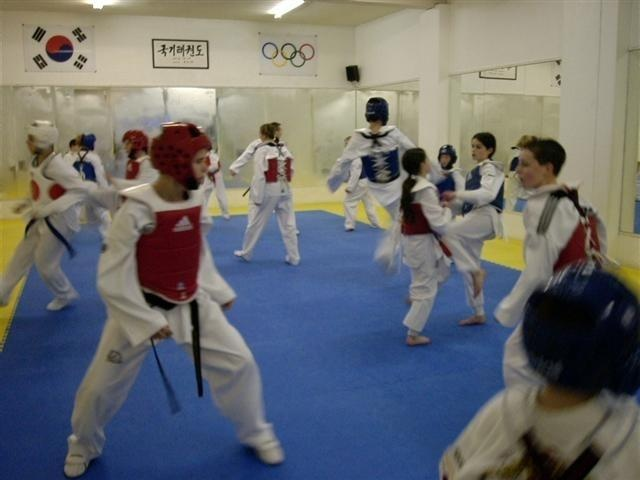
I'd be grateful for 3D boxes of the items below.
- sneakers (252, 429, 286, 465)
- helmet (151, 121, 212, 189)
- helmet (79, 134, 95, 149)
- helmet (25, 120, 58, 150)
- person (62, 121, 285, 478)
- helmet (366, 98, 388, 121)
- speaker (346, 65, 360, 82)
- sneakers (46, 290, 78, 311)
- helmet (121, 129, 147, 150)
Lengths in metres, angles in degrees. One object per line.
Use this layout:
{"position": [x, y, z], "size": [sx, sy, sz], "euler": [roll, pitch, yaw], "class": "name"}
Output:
{"position": [-0.263, 1.014, 2.436], "size": [0.106, 0.203, 0.081], "euler": [-27, -18, -29], "class": "sneakers"}
{"position": [-0.596, -0.396, 2.279], "size": [0.262, 0.313, 0.217], "euler": [2, 9, -2], "class": "helmet"}
{"position": [-3.378, -1.412, 7.204], "size": [0.145, 0.290, 0.378], "euler": [-2, 9, -29], "class": "helmet"}
{"position": [-2.415, -0.868, 4.267], "size": [0.228, 0.200, 0.266], "euler": [8, -43, -37], "class": "helmet"}
{"position": [-0.716, 0.287, 2.319], "size": [1.016, 1.625, 0.451], "euler": [-5, 11, -20], "class": "person"}
{"position": [0.521, -1.224, 4.638], "size": [0.223, 0.246, 0.170], "euler": [-11, 17, -38], "class": "helmet"}
{"position": [0.789, -4.027, 11.997], "size": [0.356, 0.496, 0.256], "euler": [-3, -3, 5], "class": "speaker"}
{"position": [-2.546, 0.604, 4.820], "size": [0.381, 0.138, 0.193], "euler": [-25, -12, 25], "class": "sneakers"}
{"position": [-2.097, -1.125, 5.635], "size": [0.264, 0.207, 0.212], "euler": [10, -42, -39], "class": "helmet"}
